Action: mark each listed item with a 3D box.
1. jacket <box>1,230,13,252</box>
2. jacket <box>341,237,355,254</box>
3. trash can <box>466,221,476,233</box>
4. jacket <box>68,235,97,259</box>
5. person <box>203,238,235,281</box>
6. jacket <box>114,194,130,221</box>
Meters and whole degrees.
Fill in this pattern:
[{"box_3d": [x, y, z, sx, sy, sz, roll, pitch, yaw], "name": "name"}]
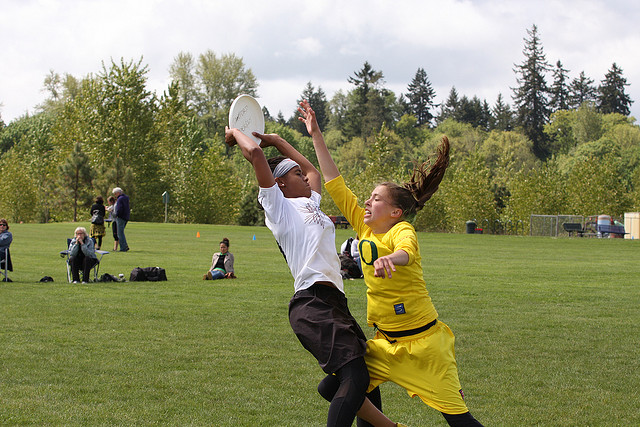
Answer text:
[{"box_3d": [-9.208, 0.822, 21.713, 0.280, 0.591, 0.368, -1, 11, -15], "name": "jacket"}, {"box_3d": [0.889, 1.026, 23.175, 0.347, 0.514, 0.179, 2, 3, 29], "name": "jacket"}, {"box_3d": [11.340, 1.054, 55.529, 0.741, 0.917, 0.763, 1, -11, -4], "name": "trash can"}, {"box_3d": [-6.916, 0.996, 21.503, 0.482, 0.570, 0.755, 2, -3, -15], "name": "jacket"}, {"box_3d": [-3.048, 1.404, 22.943, 0.728, 1.177, 1.090, 3, -2, -12], "name": "person"}, {"box_3d": [-7.971, -0.197, 29.652, 0.564, 0.946, 0.867, -2, 11, -18], "name": "jacket"}]
